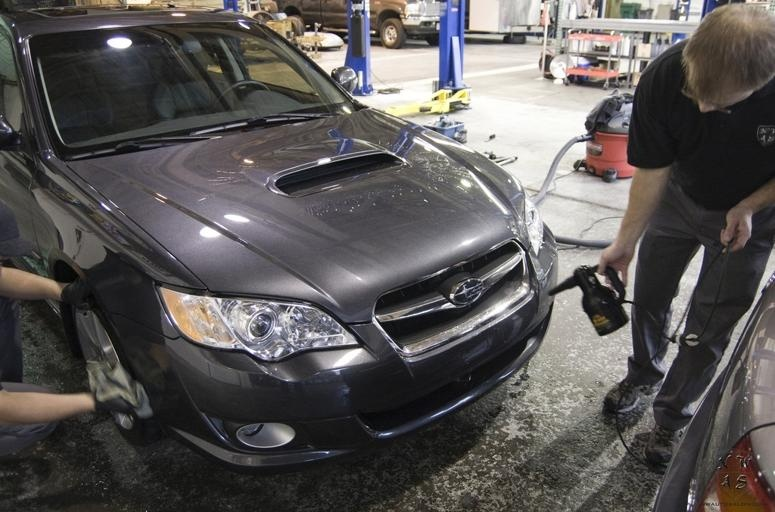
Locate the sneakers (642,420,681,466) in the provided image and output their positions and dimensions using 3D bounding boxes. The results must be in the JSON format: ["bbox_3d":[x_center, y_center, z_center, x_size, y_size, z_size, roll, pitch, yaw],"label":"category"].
[{"bbox_3d":[1.311,0.908,2.434,0.102,0.115,0.252,23,54,9],"label":"sneakers"}]

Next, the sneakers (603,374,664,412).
[{"bbox_3d":[1.301,0.725,2.665,0.293,0.113,0.093,-18,48,-19],"label":"sneakers"}]

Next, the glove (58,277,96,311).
[{"bbox_3d":[-1.430,0.177,2.360,0.139,0.084,0.223,-14,16,-41],"label":"glove"}]

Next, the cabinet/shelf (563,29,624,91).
[{"bbox_3d":[3.969,-3.851,9.913,0.958,0.828,0.756,25,34,37],"label":"cabinet/shelf"}]

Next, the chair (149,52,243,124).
[{"bbox_3d":[-1.176,-1.017,3.224,0.469,0.479,0.395,-8,-12,11],"label":"chair"}]
